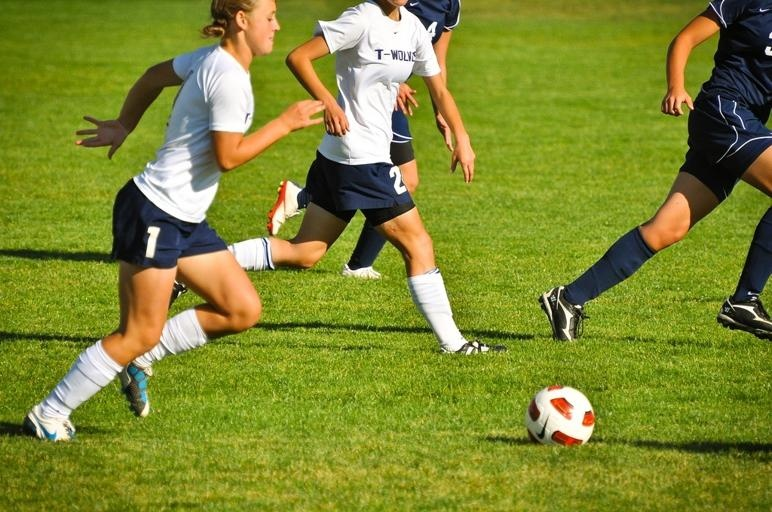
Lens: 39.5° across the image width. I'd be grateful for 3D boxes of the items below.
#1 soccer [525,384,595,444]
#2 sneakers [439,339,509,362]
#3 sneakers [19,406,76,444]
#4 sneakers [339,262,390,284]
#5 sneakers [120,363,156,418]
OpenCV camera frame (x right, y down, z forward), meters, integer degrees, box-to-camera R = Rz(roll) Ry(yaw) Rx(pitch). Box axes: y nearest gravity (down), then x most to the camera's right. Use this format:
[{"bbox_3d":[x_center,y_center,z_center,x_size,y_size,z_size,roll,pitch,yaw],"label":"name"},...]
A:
[{"bbox_3d":[1.193,1.091,7.662,0.429,0.375,0.400,12,15,-4],"label":"soccer"},{"bbox_3d":[0.708,0.750,8.728,0.535,0.184,0.181,-5,6,0],"label":"sneakers"},{"bbox_3d":[-2.337,1.176,7.503,0.409,0.173,0.175,9,23,-22],"label":"sneakers"},{"bbox_3d":[-0.228,0.165,10.462,0.435,0.161,0.146,1,22,-9],"label":"sneakers"},{"bbox_3d":[-1.817,0.951,7.893,0.226,0.439,0.159,-12,12,12],"label":"sneakers"}]
